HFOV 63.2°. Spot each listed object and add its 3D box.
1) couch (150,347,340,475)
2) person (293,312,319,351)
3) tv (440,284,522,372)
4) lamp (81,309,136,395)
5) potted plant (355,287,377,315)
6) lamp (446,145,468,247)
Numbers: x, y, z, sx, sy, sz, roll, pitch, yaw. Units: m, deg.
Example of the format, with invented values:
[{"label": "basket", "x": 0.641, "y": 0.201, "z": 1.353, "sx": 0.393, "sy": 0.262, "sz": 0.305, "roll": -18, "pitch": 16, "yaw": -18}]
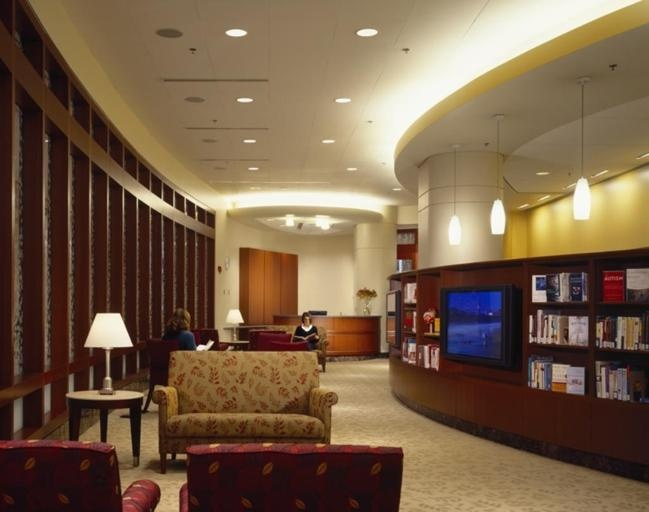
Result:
[{"label": "couch", "x": -0.754, "y": 1.504, "z": 4.964, "sx": 1.586, "sy": 1.215, "sz": 0.915, "roll": 4, "pitch": -14, "yaw": -13}, {"label": "person", "x": -0.422, "y": 1.750, "z": 12.111, "sx": 0.524, "sy": 0.829, "sz": 0.642, "roll": 5, "pitch": 7, "yaw": 9}, {"label": "tv", "x": 1.914, "y": 0.868, "z": 6.649, "sx": 0.118, "sy": 0.952, "sz": 1.188, "roll": 4, "pitch": -7, "yaw": -28}, {"label": "lamp", "x": -2.207, "y": 0.991, "z": 5.375, "sx": 0.435, "sy": 0.831, "sz": 0.468, "roll": -1, "pitch": -6, "yaw": -6}, {"label": "potted plant", "x": 1.315, "y": 1.406, "z": 16.504, "sx": 0.738, "sy": 0.961, "sz": 0.817, "roll": 2, "pitch": -6, "yaw": 2}, {"label": "lamp", "x": 1.996, "y": -0.885, "z": 7.923, "sx": 0.174, "sy": 1.416, "sz": 0.193, "roll": -2, "pitch": 20, "yaw": -7}]
